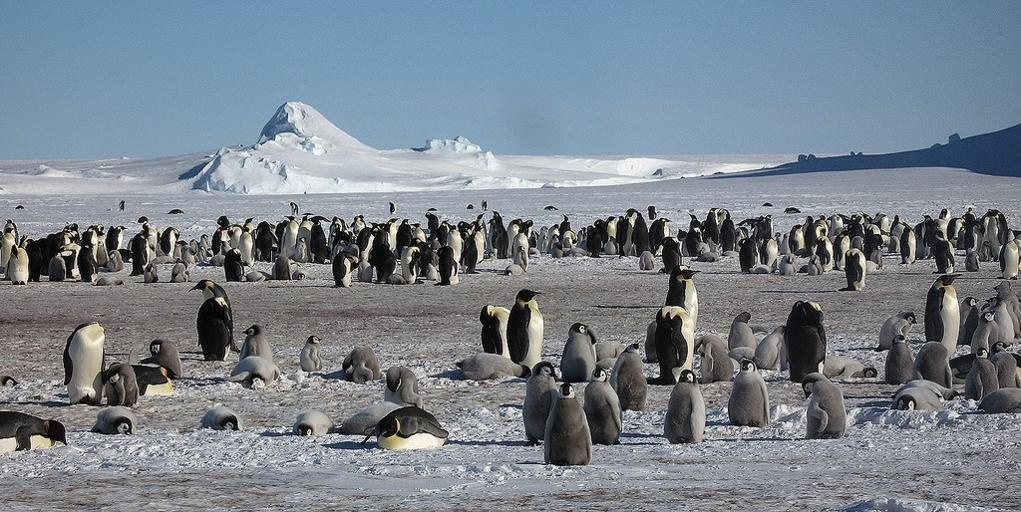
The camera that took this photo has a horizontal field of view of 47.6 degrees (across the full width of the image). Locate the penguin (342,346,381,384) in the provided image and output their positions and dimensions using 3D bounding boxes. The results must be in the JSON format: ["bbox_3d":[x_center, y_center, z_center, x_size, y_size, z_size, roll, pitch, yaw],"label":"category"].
[{"bbox_3d":[-2.838,2.086,21.821,0.640,0.376,0.784,0,7,-5],"label":"penguin"}]

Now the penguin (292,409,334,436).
[{"bbox_3d":[-3.376,2.847,19.641,0.669,0.323,0.478,-1,13,-4],"label":"penguin"}]

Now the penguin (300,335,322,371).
[{"bbox_3d":[-3.907,1.889,22.530,0.429,0.649,0.560,-2,14,-10],"label":"penguin"}]

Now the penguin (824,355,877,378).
[{"bbox_3d":[6.350,2.057,21.688,0.796,0.209,0.522,5,8,-7],"label":"penguin"}]

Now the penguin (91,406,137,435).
[{"bbox_3d":[-6.760,2.808,19.742,0.774,0.384,0.393,2,13,7],"label":"penguin"}]

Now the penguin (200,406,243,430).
[{"bbox_3d":[-4.950,2.795,19.837,0.464,0.218,0.534,-1,-1,-9],"label":"penguin"}]

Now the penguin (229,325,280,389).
[{"bbox_3d":[-4.907,1.913,22.077,0.940,0.908,1.122,-3,13,-14],"label":"penguin"}]

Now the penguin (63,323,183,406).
[{"bbox_3d":[-7.376,2.011,21.305,1.550,1.664,1.880,0,0,11],"label":"penguin"}]
